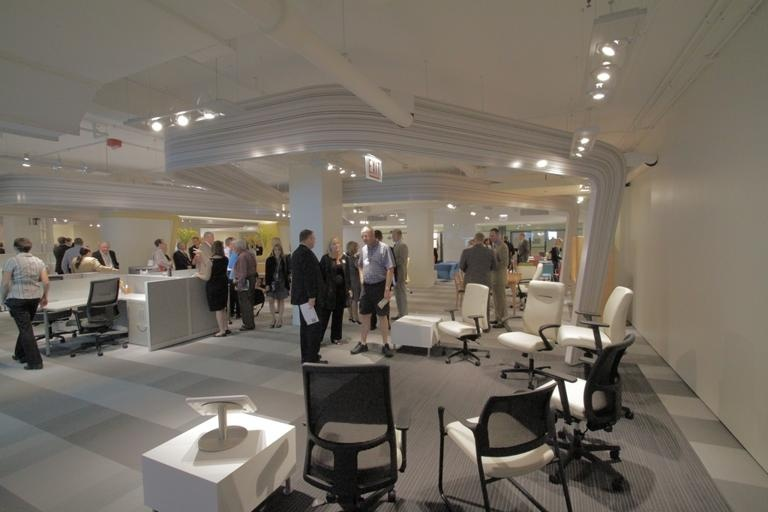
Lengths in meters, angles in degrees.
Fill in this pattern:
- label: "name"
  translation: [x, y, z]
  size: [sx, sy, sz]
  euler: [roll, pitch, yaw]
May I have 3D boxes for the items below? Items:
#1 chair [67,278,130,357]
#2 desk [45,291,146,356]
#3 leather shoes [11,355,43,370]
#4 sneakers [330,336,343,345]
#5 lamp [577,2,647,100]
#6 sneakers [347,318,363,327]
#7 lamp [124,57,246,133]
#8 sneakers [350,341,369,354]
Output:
- label: "chair"
  translation: [-4.973, 1.029, 7.780]
  size: [0.731, 1.309, 0.854]
  euler: [4, 7, 11]
- label: "desk"
  translation: [-5.295, 1.044, 7.965]
  size: [1.414, 1.182, 1.488]
  euler: [-1, 2, 34]
- label: "leather shoes"
  translation: [-5.579, 1.677, 7.037]
  size: [0.414, 0.194, 0.142]
  euler: [14, 1, 5]
- label: "sneakers"
  translation: [-0.844, 1.538, 8.057]
  size: [0.187, 0.189, 0.095]
  euler: [-1, -4, 21]
- label: "lamp"
  translation: [2.568, -2.350, 5.089]
  size: [0.366, 0.204, 1.206]
  euler: [2, -21, 17]
- label: "sneakers"
  translation: [-0.621, 1.419, 9.590]
  size: [0.321, 0.130, 0.107]
  euler: [4, 0, 29]
- label: "lamp"
  translation: [-3.224, -2.357, 6.968]
  size: [1.240, 0.958, 2.248]
  euler: [0, 2, -39]
- label: "sneakers"
  translation: [-0.397, 1.543, 7.480]
  size: [0.129, 0.147, 0.369]
  euler: [-9, -14, 38]
